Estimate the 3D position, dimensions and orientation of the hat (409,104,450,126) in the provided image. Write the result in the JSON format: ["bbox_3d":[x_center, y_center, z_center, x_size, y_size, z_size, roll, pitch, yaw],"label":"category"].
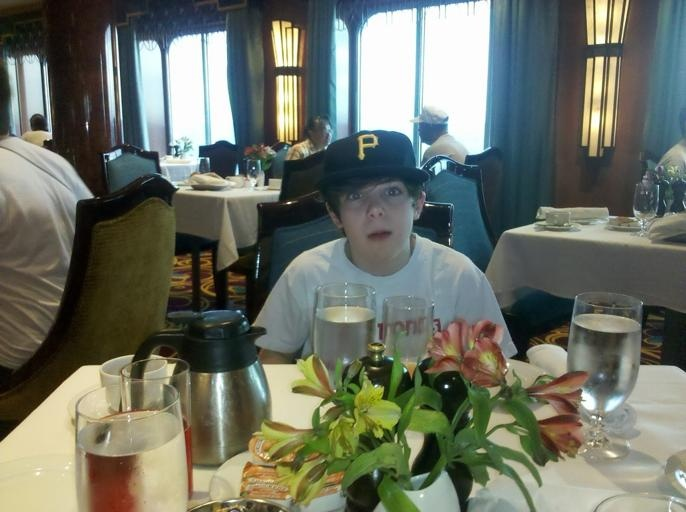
[{"bbox_3d":[0.755,-1.241,4.921,0.275,0.133,0.206,10,18,23],"label":"hat"}]

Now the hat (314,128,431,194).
[{"bbox_3d":[0.067,-0.237,1.393,0.152,0.107,0.205,-8,-5,18],"label":"hat"}]

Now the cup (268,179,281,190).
[{"bbox_3d":[-0.462,-0.497,3.683,0.095,0.082,0.104,2,15,0],"label":"cup"}]

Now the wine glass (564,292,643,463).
[{"bbox_3d":[0.415,0.183,0.887,0.109,0.225,0.172,1,11,19],"label":"wine glass"}]

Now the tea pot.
[{"bbox_3d":[-0.226,0.189,0.925,0.250,0.250,0.166,-5,8,-23],"label":"tea pot"}]

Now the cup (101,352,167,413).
[{"bbox_3d":[-0.360,0.199,0.899,0.070,0.064,0.083,0,4,-2],"label":"cup"}]

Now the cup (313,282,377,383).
[{"bbox_3d":[0.002,0.125,0.931,0.127,0.236,0.132,1,-4,0],"label":"cup"}]
